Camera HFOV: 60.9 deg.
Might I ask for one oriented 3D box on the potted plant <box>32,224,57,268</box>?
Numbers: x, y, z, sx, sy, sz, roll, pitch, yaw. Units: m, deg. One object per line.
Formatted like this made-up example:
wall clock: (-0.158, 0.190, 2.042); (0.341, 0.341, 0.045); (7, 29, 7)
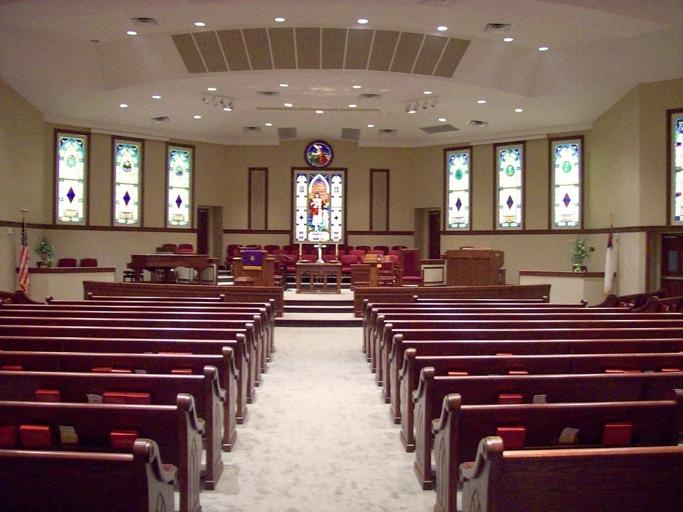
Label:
potted plant: (-7.072, -0.128, 13.833); (0.471, 0.847, 1.302); (-4, 9, -26)

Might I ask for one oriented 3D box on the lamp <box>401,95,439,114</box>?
lamp: (1.908, -3.648, 13.931); (0.783, 0.246, 1.354); (1, 8, 3)

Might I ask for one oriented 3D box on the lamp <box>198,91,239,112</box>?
lamp: (-2.897, -3.663, 13.673); (0.782, 0.271, 1.174); (0, 8, 0)
